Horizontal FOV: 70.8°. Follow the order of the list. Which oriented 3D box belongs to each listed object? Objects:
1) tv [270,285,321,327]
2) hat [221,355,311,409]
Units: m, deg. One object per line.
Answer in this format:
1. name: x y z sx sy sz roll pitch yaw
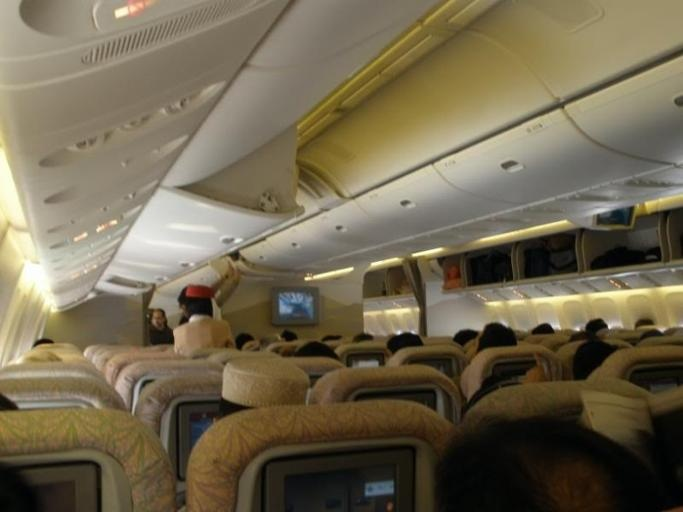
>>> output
1. tv: -1.588 1.632 15.620 1.513 1.097 0.155 1 -6 -20
2. hat: -0.282 0.423 1.728 0.219 0.096 0.201 10 -12 -43
